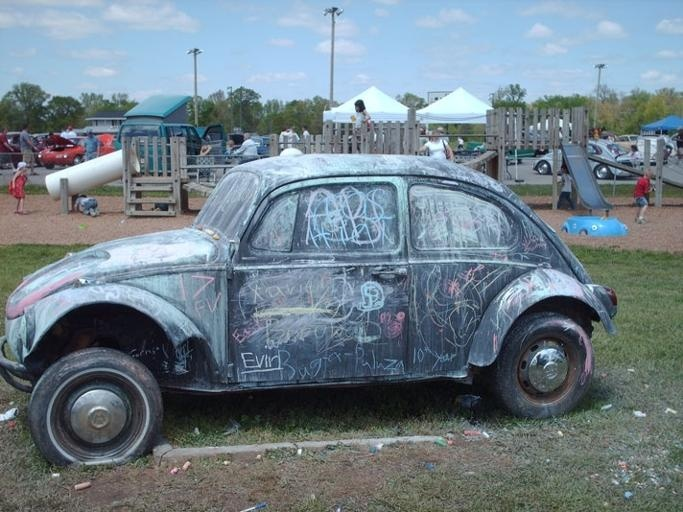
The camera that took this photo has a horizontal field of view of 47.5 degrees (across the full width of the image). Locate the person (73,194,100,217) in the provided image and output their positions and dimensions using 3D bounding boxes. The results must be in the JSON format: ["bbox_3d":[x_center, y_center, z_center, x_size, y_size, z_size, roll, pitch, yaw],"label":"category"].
[{"bbox_3d":[-6.552,-1.306,20.237,0.453,0.444,1.302,-9,21,-31],"label":"person"}]

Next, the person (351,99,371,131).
[{"bbox_3d":[0.502,-3.230,17.872,0.342,0.676,0.807,-1,15,-4],"label":"person"}]

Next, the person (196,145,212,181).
[{"bbox_3d":[-3.556,-2.575,20.225,0.445,1.203,0.289,0,52,-9],"label":"person"}]

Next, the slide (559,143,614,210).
[{"bbox_3d":[6.212,-1.997,19.874,0.616,0.325,3.029,-2,53,-5],"label":"slide"}]

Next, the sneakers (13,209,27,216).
[{"bbox_3d":[-8.233,-1.107,19.942,0.143,0.194,0.415,-3,-3,-42],"label":"sneakers"}]

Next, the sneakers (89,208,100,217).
[{"bbox_3d":[-6.278,-1.093,19.767,0.149,0.123,0.272,-12,-1,-26],"label":"sneakers"}]

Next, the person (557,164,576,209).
[{"bbox_3d":[6.149,-1.889,21.395,0.425,1.301,0.426,-2,22,11],"label":"person"}]

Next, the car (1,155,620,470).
[{"bbox_3d":[-0.282,0.332,7.062,4.035,2.208,2.586,1,0,-7],"label":"car"}]
